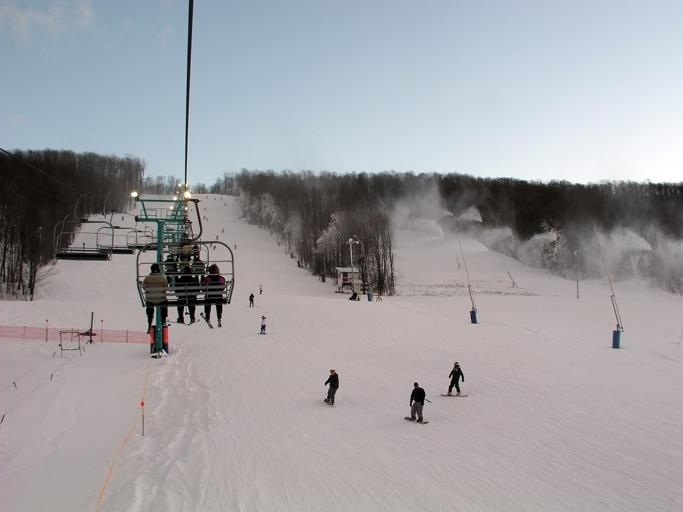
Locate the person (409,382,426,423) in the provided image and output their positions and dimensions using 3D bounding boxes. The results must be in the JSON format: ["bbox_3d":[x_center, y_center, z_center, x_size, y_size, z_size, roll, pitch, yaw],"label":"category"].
[{"bbox_3d":[3.930,7.359,30.752,0.697,2.068,1.273,3,14,6],"label":"person"}]

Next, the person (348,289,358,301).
[{"bbox_3d":[1.340,4.511,65.908,0.908,1.665,0.805,-9,8,-19],"label":"person"}]

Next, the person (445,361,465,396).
[{"bbox_3d":[6.520,7.114,34.392,1.204,2.604,0.790,-4,-19,20],"label":"person"}]

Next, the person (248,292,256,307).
[{"bbox_3d":[-9.063,4.401,60.018,0.759,2.186,0.691,1,-36,-8],"label":"person"}]

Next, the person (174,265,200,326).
[{"bbox_3d":[-6.670,1.553,25.967,0.995,3.004,0.931,0,35,-17],"label":"person"}]

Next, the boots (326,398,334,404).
[{"bbox_3d":[-0.681,7.900,32.365,0.247,0.216,0.638,13,-10,-12],"label":"boots"}]
